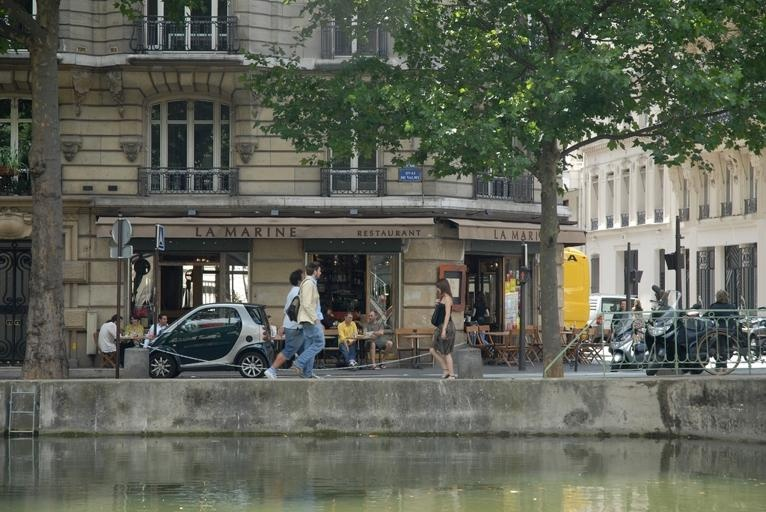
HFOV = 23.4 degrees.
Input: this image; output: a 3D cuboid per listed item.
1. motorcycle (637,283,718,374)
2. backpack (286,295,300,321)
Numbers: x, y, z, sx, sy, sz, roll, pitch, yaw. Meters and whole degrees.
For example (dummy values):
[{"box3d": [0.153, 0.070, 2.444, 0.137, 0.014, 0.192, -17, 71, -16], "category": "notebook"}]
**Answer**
[{"box3d": [6.798, 1.637, 43.584, 2.195, 2.044, 1.023, 1, -1, -3], "category": "motorcycle"}, {"box3d": [-2.095, 1.162, 43.456, 0.478, 0.523, 0.360, -2, 8, -31], "category": "backpack"}]
